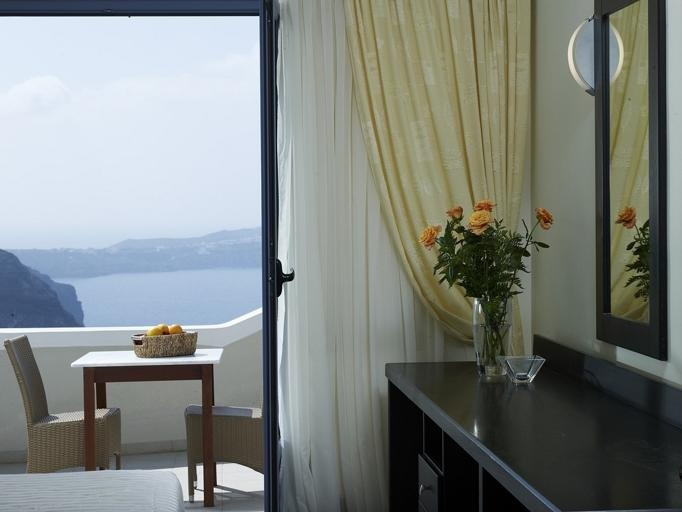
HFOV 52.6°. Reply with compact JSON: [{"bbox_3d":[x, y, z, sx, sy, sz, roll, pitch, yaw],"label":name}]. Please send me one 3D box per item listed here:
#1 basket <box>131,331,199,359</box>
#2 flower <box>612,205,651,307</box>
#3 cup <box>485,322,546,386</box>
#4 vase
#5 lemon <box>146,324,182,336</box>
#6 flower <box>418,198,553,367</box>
[{"bbox_3d":[-1.025,0.520,4.014,0.220,0.098,0.190,-4,-2,-7],"label":"basket"},{"bbox_3d":[1.127,-0.014,2.642,0.046,0.345,0.204,-5,7,-4],"label":"flower"},{"bbox_3d":[0.708,0.395,2.812,0.225,0.229,0.214,-1,-2,0],"label":"cup"},{"bbox_3d":[0.649,0.338,2.875,0.283,0.447,0.310,-1,-4,-12],"label":"vase"},{"bbox_3d":[-1.049,0.440,4.092,0.180,0.078,0.087,1,-6,-36],"label":"lemon"},{"bbox_3d":[0.561,0.148,3.085,0.607,0.902,0.637,0,-5,-11],"label":"flower"}]
